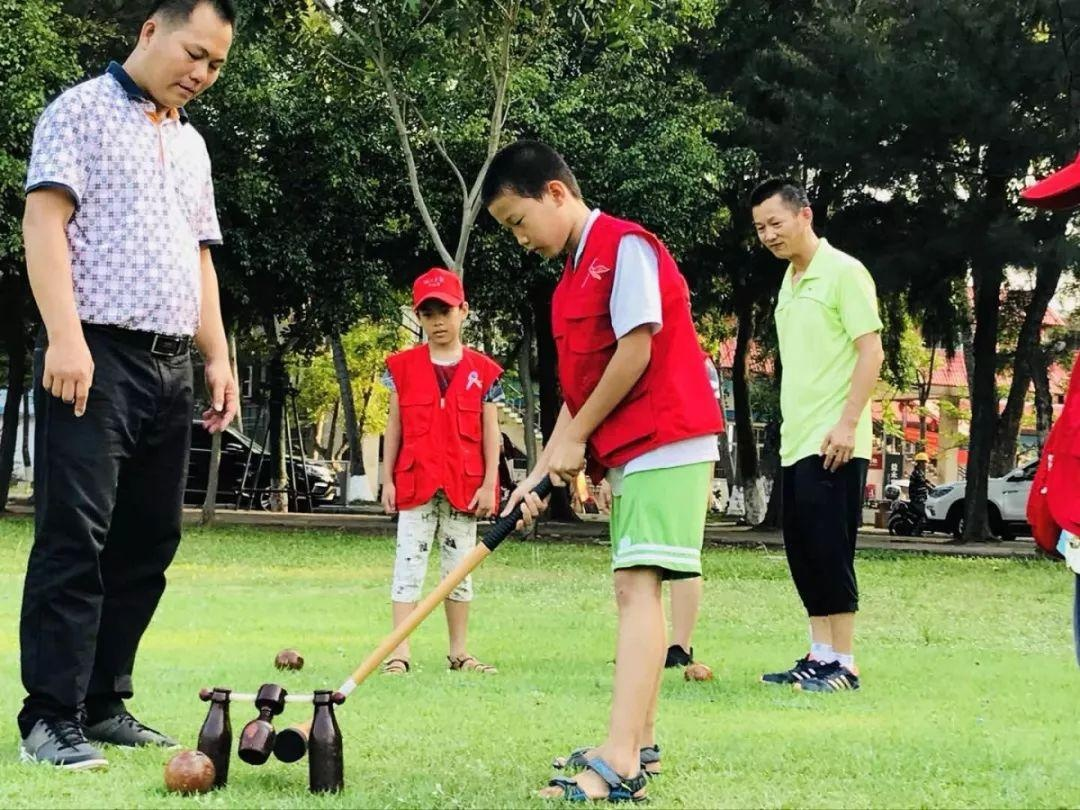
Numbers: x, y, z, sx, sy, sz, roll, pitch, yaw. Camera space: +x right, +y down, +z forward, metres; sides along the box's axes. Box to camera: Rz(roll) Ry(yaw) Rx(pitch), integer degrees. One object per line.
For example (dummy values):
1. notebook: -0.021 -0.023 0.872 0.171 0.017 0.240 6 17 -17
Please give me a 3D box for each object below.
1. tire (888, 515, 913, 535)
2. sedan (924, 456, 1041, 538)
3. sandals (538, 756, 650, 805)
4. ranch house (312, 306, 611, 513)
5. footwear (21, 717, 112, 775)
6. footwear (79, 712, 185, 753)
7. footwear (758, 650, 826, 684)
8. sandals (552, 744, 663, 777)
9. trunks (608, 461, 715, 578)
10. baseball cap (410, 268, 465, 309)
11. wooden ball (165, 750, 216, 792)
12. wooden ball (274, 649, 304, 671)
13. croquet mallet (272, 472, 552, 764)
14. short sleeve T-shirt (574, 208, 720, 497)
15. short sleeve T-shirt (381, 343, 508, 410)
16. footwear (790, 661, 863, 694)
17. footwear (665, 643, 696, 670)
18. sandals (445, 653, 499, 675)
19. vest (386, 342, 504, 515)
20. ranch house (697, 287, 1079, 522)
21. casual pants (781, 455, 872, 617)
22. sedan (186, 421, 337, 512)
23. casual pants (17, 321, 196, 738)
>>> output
1. tire: 6.330 2.146 23.516 0.304 0.301 0.593 4 -6 -27
2. sedan: 7.082 1.542 21.241 1.383 1.223 2.443 1 -5 6
3. sandals: 0.219 1.441 5.083 0.362 0.154 0.168 4 -8 -2
4. ranch house: -1.487 -0.005 31.295 8.701 3.702 4.969 3 -7 -10
5. footwear: -1.907 1.354 5.290 0.349 0.175 0.191 -3 -7 38
6. footwear: -1.712 1.374 5.609 0.407 0.162 0.149 3 -5 3
7. footwear: 1.280 1.392 6.913 0.368 0.148 0.126 2 -10 -15
8. sandals: 0.267 1.423 5.329 0.398 0.162 0.160 6 -11 -5
9. trunks: 0.467 0.451 5.305 0.265 0.452 0.455 26 -30 -28
10. baseball cap: -0.576 -0.665 7.509 0.263 0.258 0.246 2 -5 -4
11. wooden ball: -1.334 1.387 5.047 0.153 0.150 0.151 0 -7 0
12. wooden ball: -1.294 1.319 6.848 0.096 0.071 0.115 9 -10 -16
13. croquet mallet: -0.745 1.258 7.894 0.182 1.645 0.183 38 -11 28
14. short sleeve T-shirt: 0.426 -0.266 5.370 0.594 1.070 0.310 2 -5 0
15. short sleeve T-shirt: -0.480 -0.141 7.837 0.968 0.351 0.269 9 -12 -3
16. footwear: 1.477 1.403 6.807 0.381 0.157 0.137 8 -16 -25
17. footwear: 0.736 1.372 7.181 0.159 0.159 0.406 -3 -13 20
18. sandals: -0.383 1.405 7.149 0.227 0.075 0.098 -8 -8 36
19. vest: -0.561 0.138 7.650 0.667 0.935 0.332 1 -2 -6
20. ranch house: 11.573 -0.015 39.108 7.618 4.842 7.930 -1 0 -4
21. casual pants: 1.509 0.706 7.088 0.447 0.867 0.221 1 -5 12
22. sedan: -5.095 1.203 24.082 3.622 1.454 1.669 2 -3 -10
23. casual pants: -1.818 0.518 5.589 0.642 1.676 0.325 4 -5 -25
